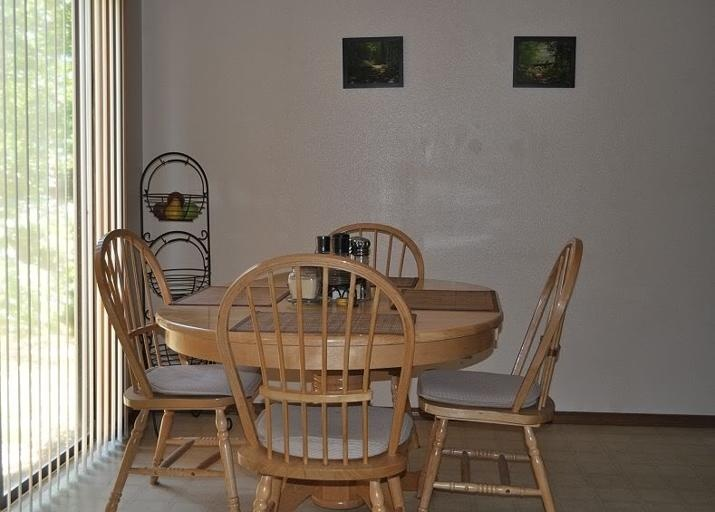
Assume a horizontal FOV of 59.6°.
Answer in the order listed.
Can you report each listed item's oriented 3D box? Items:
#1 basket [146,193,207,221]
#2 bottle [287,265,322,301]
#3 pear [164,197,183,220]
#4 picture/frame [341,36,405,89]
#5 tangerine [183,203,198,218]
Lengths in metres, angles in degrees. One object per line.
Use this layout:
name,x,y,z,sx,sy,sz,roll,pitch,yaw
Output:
basket,-1.083,-0.286,3.761,0.250,0.116,0.251,-1,4,-22
bottle,-0.227,0.115,2.637,0.136,0.160,0.138,0,-2,-4
pear,-1.088,-0.277,3.687,0.115,0.165,0.117,1,2,3
picture/frame,0.106,-1.211,3.872,0.320,0.264,0.026,0,7,5
tangerine,-0.997,-0.267,3.729,0.079,0.097,0.079,1,-3,-40
